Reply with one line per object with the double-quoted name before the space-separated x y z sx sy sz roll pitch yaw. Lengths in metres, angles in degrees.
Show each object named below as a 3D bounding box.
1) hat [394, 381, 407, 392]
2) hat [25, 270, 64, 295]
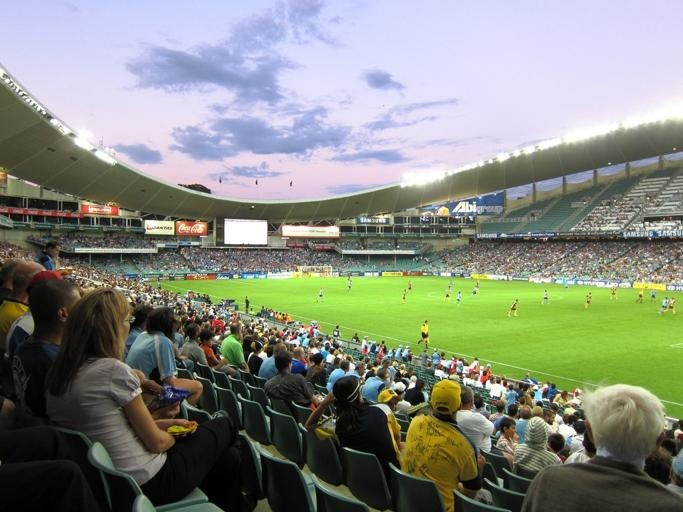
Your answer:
"hat" 1.174 2.661 10.506 0.266 0.161 0.371 0 -7 2
"hat" -3.137 0.286 5.416 0.369 0.309 0.246 -6 14 -31
